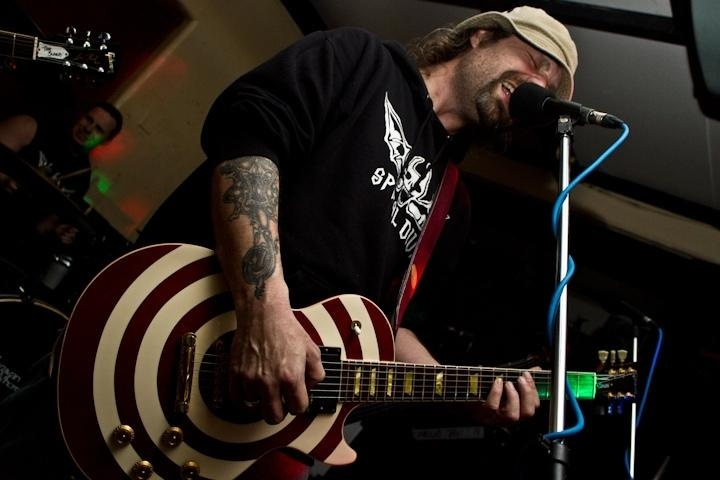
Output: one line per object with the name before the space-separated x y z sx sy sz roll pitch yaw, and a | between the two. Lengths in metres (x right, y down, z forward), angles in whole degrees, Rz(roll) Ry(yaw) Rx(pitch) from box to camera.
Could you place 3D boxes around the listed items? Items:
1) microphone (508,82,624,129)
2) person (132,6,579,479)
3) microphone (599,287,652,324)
microphone | 0.761 -0.467 2.455 0.434 0.148 0.131 24 9 41
person | -0.007 -0.343 2.657 0.441 1.473 2.005 8 49 43
microphone | 1.215 0.299 3.095 0.216 0.053 0.119 32 95 20
